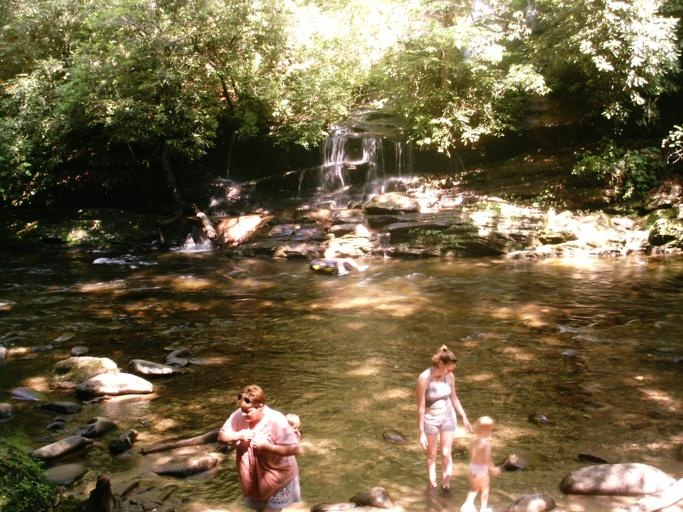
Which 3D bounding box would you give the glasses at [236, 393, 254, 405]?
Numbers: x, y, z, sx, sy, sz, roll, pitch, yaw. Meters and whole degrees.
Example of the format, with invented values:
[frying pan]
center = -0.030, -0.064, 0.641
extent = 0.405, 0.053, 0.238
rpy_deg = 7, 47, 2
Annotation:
[glasses]
center = -1.099, 1.634, 6.227
extent = 0.115, 0.029, 0.133
rpy_deg = -6, 14, -17
